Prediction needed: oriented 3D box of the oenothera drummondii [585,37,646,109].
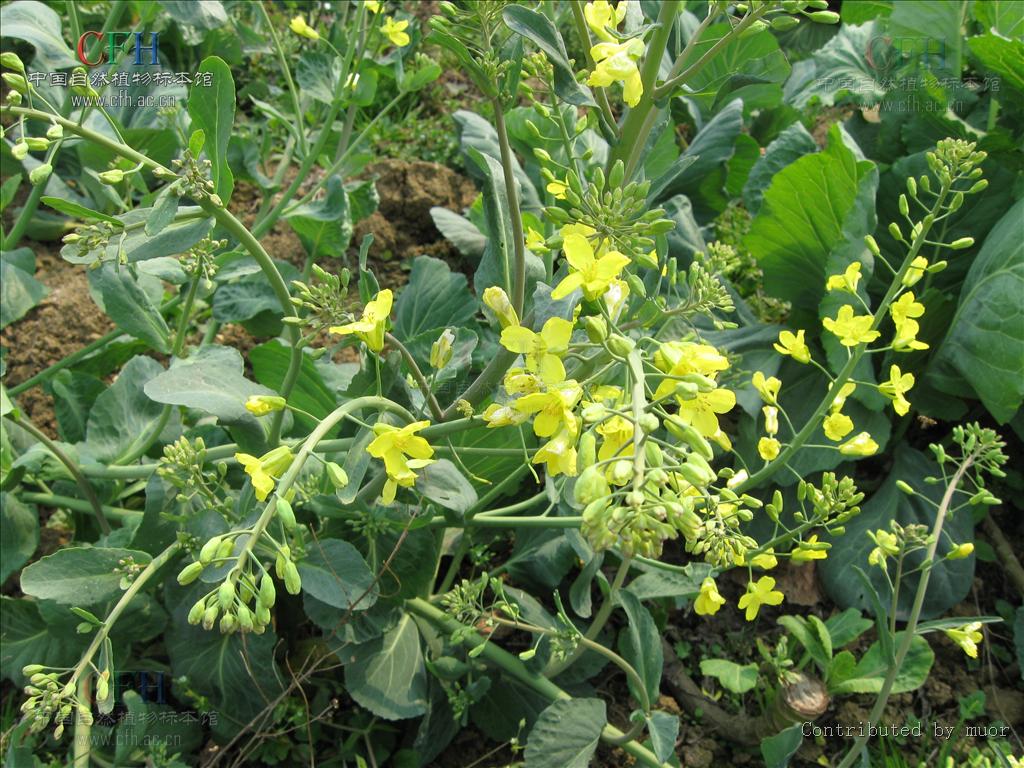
[{"bbox_3d":[0.269,-0.806,2.329,0.139,0.181,0.200,0,27,7],"label":"oenothera drummondii"}]
